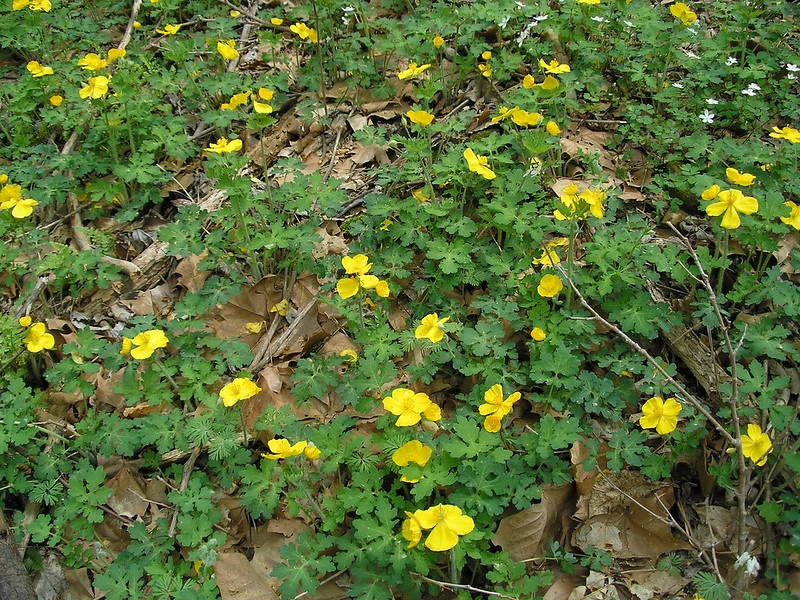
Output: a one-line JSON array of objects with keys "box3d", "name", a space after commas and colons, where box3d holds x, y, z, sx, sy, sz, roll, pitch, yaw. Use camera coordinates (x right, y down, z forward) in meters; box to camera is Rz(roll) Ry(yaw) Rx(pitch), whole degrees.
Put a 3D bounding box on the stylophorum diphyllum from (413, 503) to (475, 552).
[{"box3d": [0.251, 1.273, 3.555, 0.291, 0.199, 0.177, -15, 28, -23], "name": "stylophorum diphyllum"}]
